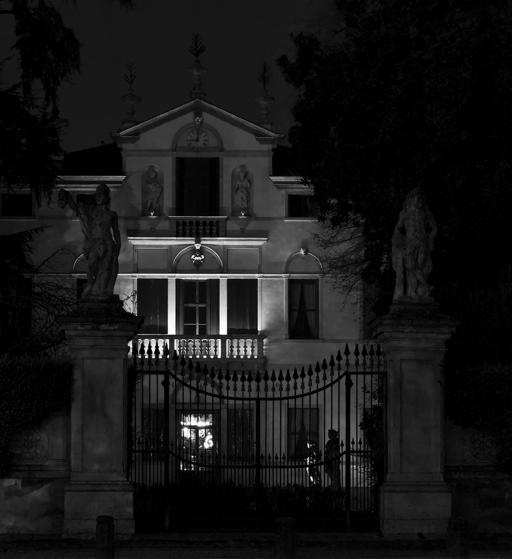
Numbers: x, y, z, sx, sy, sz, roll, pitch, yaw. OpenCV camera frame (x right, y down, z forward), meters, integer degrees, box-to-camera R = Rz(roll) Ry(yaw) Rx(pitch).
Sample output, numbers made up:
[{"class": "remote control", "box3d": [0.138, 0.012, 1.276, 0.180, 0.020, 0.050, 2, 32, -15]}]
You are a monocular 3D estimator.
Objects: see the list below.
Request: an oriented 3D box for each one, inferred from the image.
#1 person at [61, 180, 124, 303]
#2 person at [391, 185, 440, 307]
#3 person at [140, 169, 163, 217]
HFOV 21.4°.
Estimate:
[{"class": "person", "box3d": [-2.628, -0.656, 21.911, 0.876, 2.019, 1.094, 2, -10, -8]}, {"class": "person", "box3d": [2.542, -0.512, 21.716, 0.707, 1.841, 0.354, -1, -9, 10]}, {"class": "person", "box3d": [-2.701, -2.299, 35.607, 0.562, 1.385, 0.174, 2, -9, -6]}]
